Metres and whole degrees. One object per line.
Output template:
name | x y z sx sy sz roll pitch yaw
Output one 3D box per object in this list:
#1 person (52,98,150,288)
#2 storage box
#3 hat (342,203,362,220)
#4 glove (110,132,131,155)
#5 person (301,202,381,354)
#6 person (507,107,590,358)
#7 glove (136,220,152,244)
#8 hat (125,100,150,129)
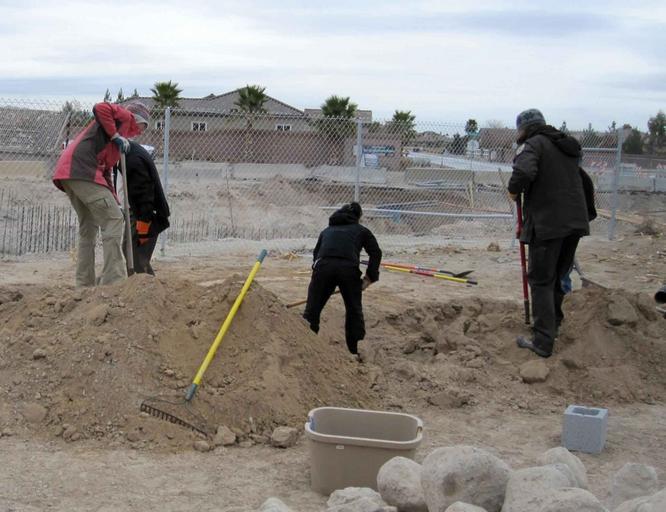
person | -2.437 -0.653 6.895 0.915 2.016 0.788 -2 9 -27
storage box | 0.226 1.427 5.002 0.737 0.440 0.569 -1 5 9
hat | 0.233 -0.500 7.315 0.150 0.211 0.207 2 5 23
glove | -2.198 -1.151 6.800 0.076 0.189 0.149 -35 57 -27
person | 0.100 0.250 7.062 0.821 1.608 0.699 1 8 -6
person | 2.302 -0.230 7.060 0.810 2.630 0.537 5 9 20
glove | -2.125 -0.281 7.323 0.202 0.293 0.161 -1 -13 0
hat | -2.129 -1.560 7.290 0.237 0.306 0.302 12 9 -8
